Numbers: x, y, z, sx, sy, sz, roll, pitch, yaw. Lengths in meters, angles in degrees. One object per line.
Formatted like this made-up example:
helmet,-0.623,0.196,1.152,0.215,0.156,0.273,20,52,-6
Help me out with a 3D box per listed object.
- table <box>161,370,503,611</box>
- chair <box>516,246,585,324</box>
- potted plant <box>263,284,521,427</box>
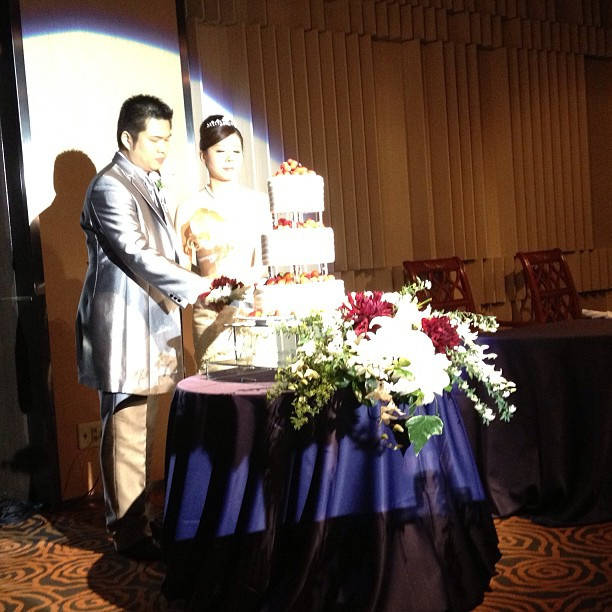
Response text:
table,0.058,0.561,1.726,0.538,0.429,0.658,0,-9,-8
chair,1.894,-0.157,4.568,0.399,0.529,1.327,-3,2,21
potted plant,0.224,0.133,1.629,0.687,0.365,0.375,-4,1,-7
